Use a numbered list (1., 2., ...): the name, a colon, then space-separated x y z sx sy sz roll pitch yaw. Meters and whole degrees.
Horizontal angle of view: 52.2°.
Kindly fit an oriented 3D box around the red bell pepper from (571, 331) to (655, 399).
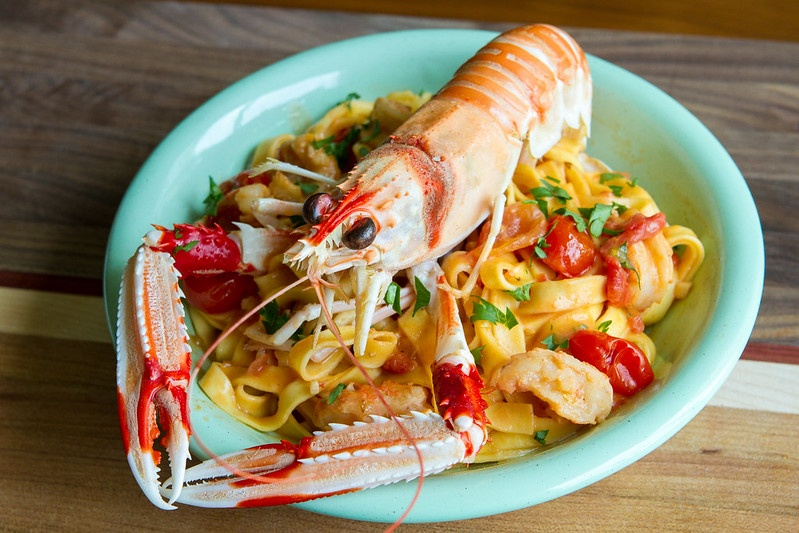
1. red bell pepper: 0.752 0.374 3.004 0.283 0.109 0.189 27 54 8

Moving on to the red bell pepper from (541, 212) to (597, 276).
1. red bell pepper: 0.649 -0.084 3.087 0.221 0.129 0.217 -1 89 -2
